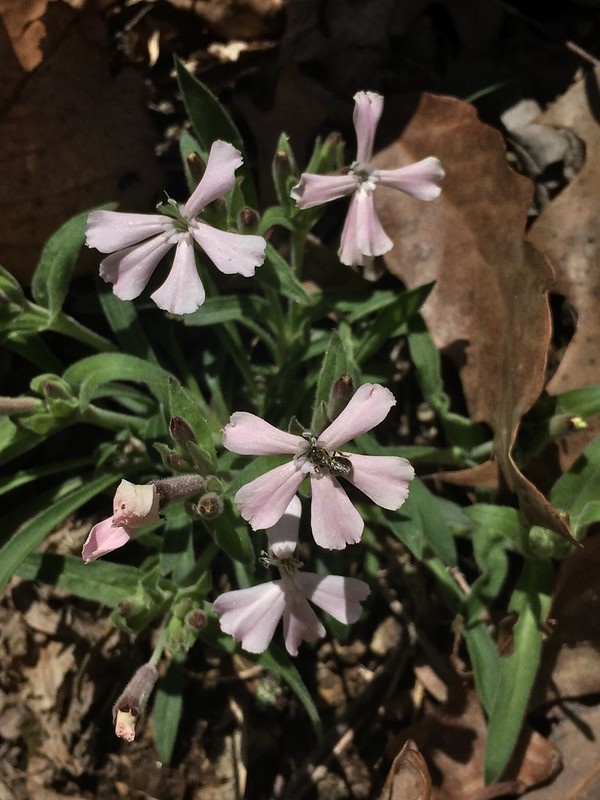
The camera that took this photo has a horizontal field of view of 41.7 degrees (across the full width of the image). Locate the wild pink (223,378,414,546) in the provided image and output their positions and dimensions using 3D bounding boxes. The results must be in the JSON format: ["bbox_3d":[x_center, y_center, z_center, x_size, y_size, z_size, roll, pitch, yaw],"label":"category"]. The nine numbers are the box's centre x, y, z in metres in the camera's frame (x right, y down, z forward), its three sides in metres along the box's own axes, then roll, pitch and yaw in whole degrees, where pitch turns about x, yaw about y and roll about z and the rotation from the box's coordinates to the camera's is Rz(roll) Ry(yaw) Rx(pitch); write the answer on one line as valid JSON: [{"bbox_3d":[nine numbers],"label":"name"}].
[{"bbox_3d":[0.065,0.167,2.227,0.518,0.138,0.463,-36,20,16],"label":"wild pink"}]

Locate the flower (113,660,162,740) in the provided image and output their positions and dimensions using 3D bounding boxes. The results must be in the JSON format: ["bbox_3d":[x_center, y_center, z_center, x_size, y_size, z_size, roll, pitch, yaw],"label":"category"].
[{"bbox_3d":[-0.445,0.833,2.261,0.121,0.074,0.299,19,18,-7],"label":"flower"}]

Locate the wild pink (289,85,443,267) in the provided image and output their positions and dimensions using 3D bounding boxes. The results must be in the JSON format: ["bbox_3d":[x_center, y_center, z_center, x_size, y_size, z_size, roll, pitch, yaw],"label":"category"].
[{"bbox_3d":[0.188,-0.658,2.471,0.568,0.513,0.151,-8,5,-24],"label":"wild pink"}]

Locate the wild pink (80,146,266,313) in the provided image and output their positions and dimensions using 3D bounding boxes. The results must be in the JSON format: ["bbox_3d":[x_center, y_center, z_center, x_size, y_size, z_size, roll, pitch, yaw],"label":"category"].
[{"bbox_3d":[-0.393,-0.535,2.352,0.170,0.488,0.515,12,-9,-16],"label":"wild pink"}]
